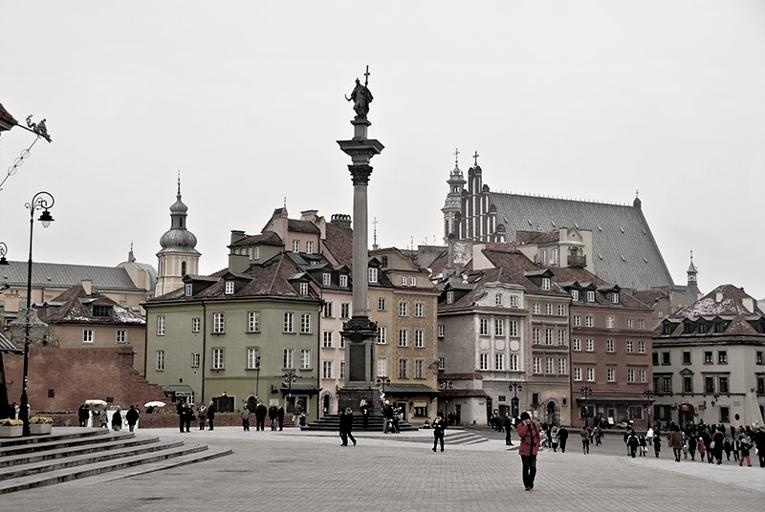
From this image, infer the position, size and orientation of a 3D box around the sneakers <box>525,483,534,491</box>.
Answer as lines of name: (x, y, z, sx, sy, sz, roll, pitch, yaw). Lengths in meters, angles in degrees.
sneakers: (4.810, 7.549, 43.822, 0.248, 0.320, 0.198, 5, -9, -38)

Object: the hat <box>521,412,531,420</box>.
hat: (4.723, 5.308, 44.468, 0.227, 0.227, 0.293, -8, -26, 16)

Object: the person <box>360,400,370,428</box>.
person: (-0.954, 8.391, 71.277, 0.508, 1.637, 0.581, 3, -14, -14)
